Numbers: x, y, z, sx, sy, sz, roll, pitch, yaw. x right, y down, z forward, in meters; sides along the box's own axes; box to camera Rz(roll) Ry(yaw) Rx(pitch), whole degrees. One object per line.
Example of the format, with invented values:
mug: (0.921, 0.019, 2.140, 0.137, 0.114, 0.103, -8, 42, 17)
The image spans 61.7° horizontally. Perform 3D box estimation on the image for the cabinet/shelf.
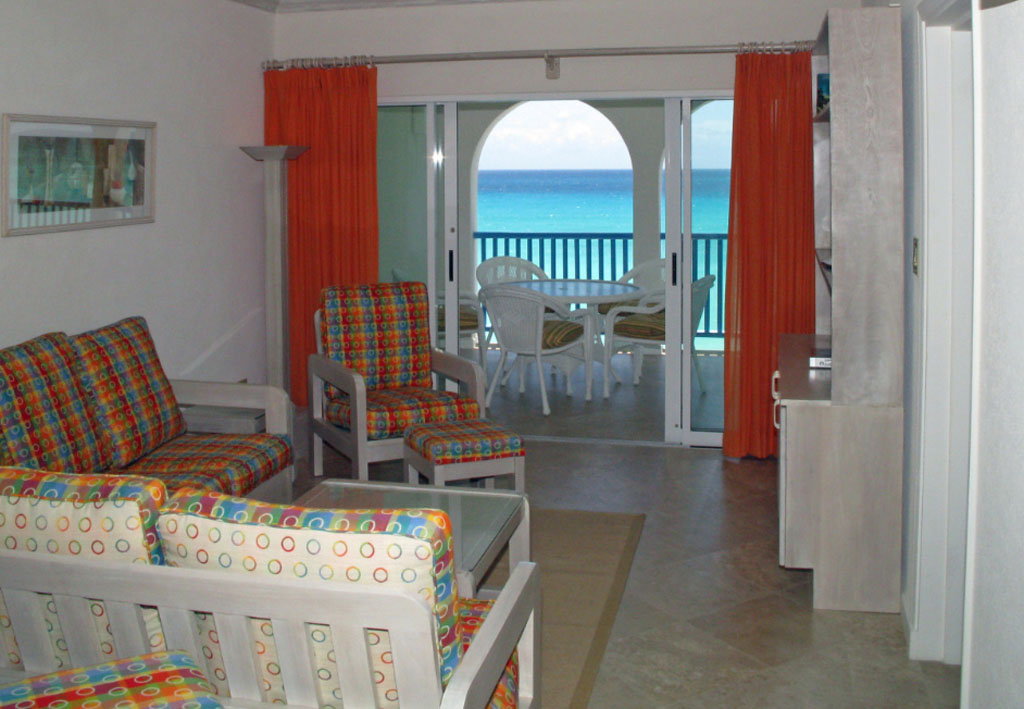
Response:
cabinet/shelf: (1.472, -0.163, 3.762, 0.536, 2.585, 0.392, 2, 12, 13)

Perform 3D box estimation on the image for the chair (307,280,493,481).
chair: (-0.761, 0.180, 5.386, 1.089, 1.234, 1.116, -1, 8, -8)

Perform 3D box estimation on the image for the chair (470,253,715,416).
chair: (0.712, -0.330, 7.413, 1.344, 0.690, 1.325, -8, 12, -40)
